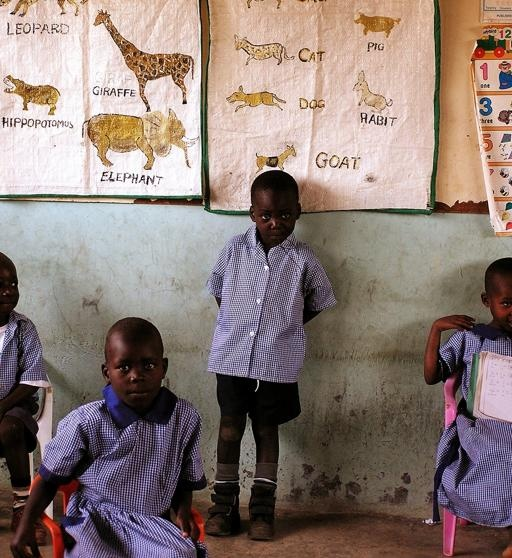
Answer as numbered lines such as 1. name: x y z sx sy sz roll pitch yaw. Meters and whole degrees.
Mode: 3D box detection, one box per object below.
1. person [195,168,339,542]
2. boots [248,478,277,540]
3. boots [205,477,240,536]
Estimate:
1. person: 0.055 0.269 2.583 0.494 1.371 0.389 3 3 -3
2. boots: 0.021 0.872 2.540 0.093 0.181 0.268 -1 -2 5
3. boots: -0.127 0.859 2.541 0.100 0.181 0.262 1 -5 13
